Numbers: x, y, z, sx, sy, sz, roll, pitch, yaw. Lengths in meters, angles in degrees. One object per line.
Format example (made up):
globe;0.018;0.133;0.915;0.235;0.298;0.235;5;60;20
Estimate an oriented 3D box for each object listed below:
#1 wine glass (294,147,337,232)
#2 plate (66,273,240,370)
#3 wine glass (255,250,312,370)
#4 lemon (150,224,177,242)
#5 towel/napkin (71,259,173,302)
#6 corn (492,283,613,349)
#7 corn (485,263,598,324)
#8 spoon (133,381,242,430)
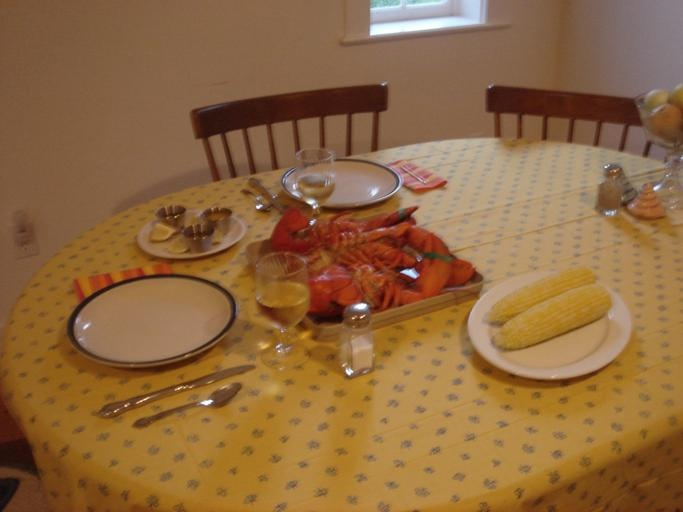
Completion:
wine glass;-0.061;-0.172;1.356;0.083;0.205;0.092;-17;34;-27
plate;-0.391;0.134;1.060;0.325;0.047;0.332;10;27;9
wine glass;-0.109;0.108;0.984;0.127;0.268;0.121;11;35;13
lemon;-0.463;-0.058;1.338;0.049;0.020;0.055;9;66;-5
towel/napkin;-0.538;-0.001;1.256;0.238;0.077;0.228;-12;27;-26
corn;0.412;0.119;1.044;0.270;0.083;0.098;-19;48;-13
corn;0.407;0.082;1.054;0.226;0.060;0.063;-21;20;-5
spoon;-0.272;0.269;0.927;0.195;0.014;0.038;-15;33;-17
